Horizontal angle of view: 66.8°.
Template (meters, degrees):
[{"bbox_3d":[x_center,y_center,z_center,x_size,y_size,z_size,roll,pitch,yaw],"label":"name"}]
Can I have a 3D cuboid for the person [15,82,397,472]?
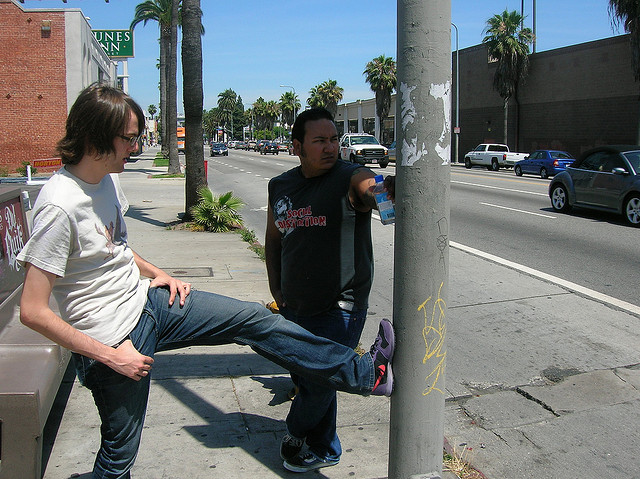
[{"bbox_3d":[-0.678,0.180,2.572,1.473,1.958,0.641,-2,10,-19],"label":"person"}]

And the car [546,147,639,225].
[{"bbox_3d":[7.783,-1.607,13.574,1.262,1.239,2.315,-4,6,-31],"label":"car"}]
